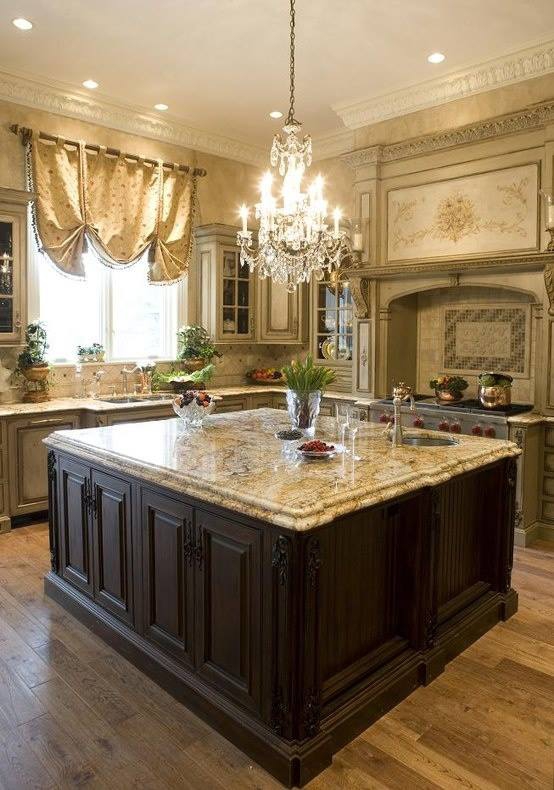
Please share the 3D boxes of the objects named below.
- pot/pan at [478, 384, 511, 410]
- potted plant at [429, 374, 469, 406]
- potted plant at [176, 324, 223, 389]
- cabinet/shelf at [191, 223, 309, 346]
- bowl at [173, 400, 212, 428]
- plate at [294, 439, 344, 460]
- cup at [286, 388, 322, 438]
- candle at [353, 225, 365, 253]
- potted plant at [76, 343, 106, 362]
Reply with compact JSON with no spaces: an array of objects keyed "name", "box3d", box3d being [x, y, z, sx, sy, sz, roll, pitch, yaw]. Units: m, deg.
[{"name":"pot/pan","box3d":[1.524,0.019,4.145,0.165,0.130,0.167,1,1,-9]},{"name":"potted plant","box3d":[1.351,-0.042,4.645,0.232,0.165,0.239,-1,2,-27]},{"name":"potted plant","box3d":[-0.802,-0.396,5.943,0.417,0.644,0.795,0,3,-6]},{"name":"cabinet/shelf","box3d":[-0.419,-1.024,6.232,1.433,1.432,1.072,1,-2,-42]},{"name":"bowl","box3d":[-0.451,0.099,3.152,0.156,0.113,0.158,1,-1,0]},{"name":"plate","box3d":[0.169,0.222,2.405,0.176,0.061,0.232,1,3,11]},{"name":"cup","box3d":[0.128,0.089,2.886,0.209,0.235,0.200,0,1,0]},{"name":"candle","box3d":[0.687,-1.320,5.004,0.086,0.242,0.281,0,3,7]},{"name":"potted plant","box3d":[-1.635,-0.375,5.219,0.125,0.165,0.317,1,3,22]}]
